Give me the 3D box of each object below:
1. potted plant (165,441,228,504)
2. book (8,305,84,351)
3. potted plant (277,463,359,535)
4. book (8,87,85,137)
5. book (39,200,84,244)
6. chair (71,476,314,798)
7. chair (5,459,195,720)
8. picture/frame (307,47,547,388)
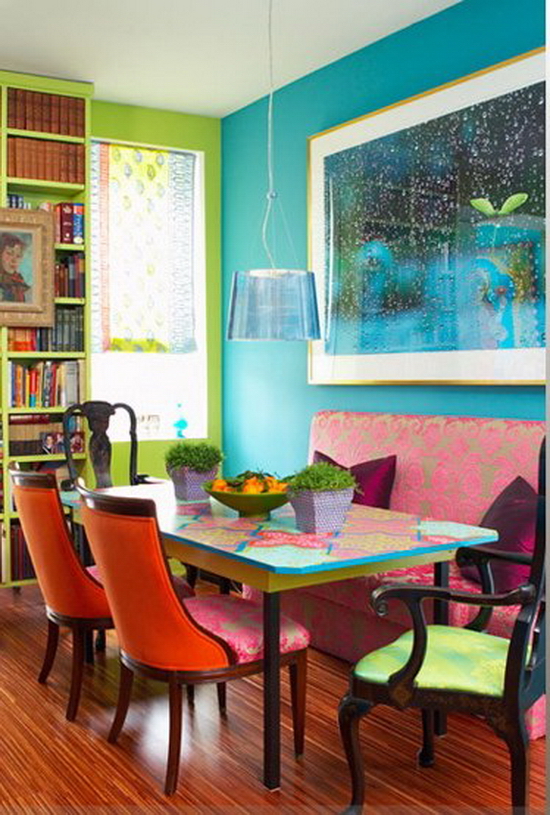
[{"bbox_3d":[-0.314,0.243,2.433,0.222,0.237,0.204,2,-3,-31],"label":"potted plant"},{"bbox_3d":[-1.334,-0.463,3.843,0.478,0.253,0.470,1,5,-3],"label":"book"},{"bbox_3d":[0.119,0.225,1.831,0.217,0.228,0.182,1,-2,-42],"label":"potted plant"},{"bbox_3d":[-1.319,-1.717,3.814,0.392,0.247,0.438,1,5,-14],"label":"book"},{"bbox_3d":[-1.291,-1.063,3.888,0.228,0.308,0.314,-1,3,-23],"label":"book"},{"bbox_3d":[-0.257,0.501,1.979,0.715,1.015,0.640,-4,5,-35],"label":"chair"},{"bbox_3d":[-0.795,0.543,2.571,0.773,1.163,0.651,-2,5,-37],"label":"chair"},{"bbox_3d":[0.725,-0.885,2.978,0.030,1.405,1.870,-1,2,-25],"label":"picture/frame"}]
